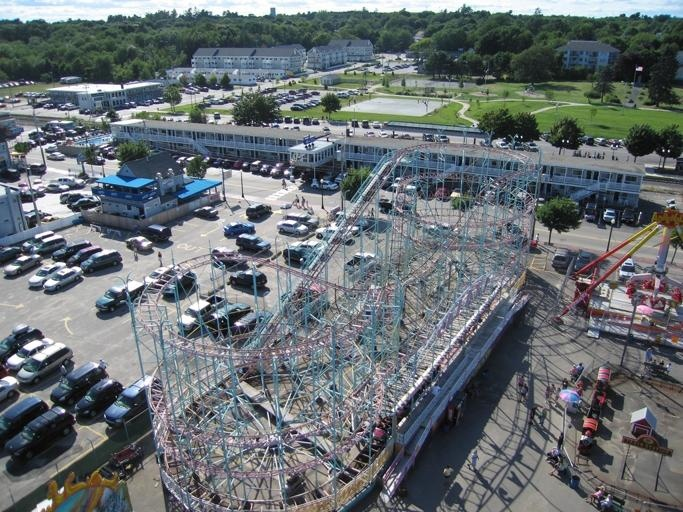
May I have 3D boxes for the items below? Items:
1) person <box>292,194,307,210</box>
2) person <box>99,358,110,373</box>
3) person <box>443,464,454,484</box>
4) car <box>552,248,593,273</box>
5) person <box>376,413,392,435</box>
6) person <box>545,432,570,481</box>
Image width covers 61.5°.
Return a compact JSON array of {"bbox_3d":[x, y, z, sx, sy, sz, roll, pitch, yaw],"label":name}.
[{"bbox_3d":[-4.371,-5.697,62.468,1.473,0.633,1.888,2,27,-1],"label":"person"},{"bbox_3d":[-15.562,7.219,37.474,0.666,0.768,0.636,-1,72,-9],"label":"person"},{"bbox_3d":[5.856,11.737,31.099,0.623,0.727,0.975,6,30,11],"label":"person"},{"bbox_3d":[20.051,0.451,49.886,3.268,0.946,2.090,-31,47,-29],"label":"car"},{"bbox_3d":[2.451,9.562,32.529,0.771,0.384,1.227,22,70,24],"label":"person"},{"bbox_3d":[12.093,11.154,31.846,1.196,1.162,2.031,7,30,13],"label":"person"}]
